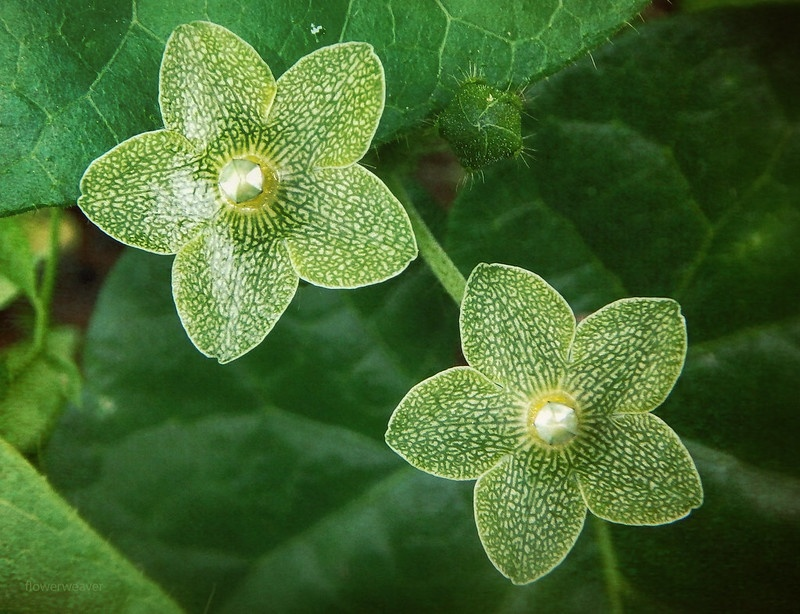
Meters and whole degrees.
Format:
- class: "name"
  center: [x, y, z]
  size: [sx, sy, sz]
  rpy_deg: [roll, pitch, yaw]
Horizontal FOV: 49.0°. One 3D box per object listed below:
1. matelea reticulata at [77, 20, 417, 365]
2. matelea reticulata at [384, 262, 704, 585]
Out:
- class: "matelea reticulata"
  center: [-0.236, -0.195, 1.604]
  size: [0.641, 0.605, 0.136]
  rpy_deg: [-46, 5, 6]
- class: "matelea reticulata"
  center: [0.278, 0.160, 1.718]
  size: [0.496, 0.594, 0.485]
  rpy_deg: [-2, 9, 7]
